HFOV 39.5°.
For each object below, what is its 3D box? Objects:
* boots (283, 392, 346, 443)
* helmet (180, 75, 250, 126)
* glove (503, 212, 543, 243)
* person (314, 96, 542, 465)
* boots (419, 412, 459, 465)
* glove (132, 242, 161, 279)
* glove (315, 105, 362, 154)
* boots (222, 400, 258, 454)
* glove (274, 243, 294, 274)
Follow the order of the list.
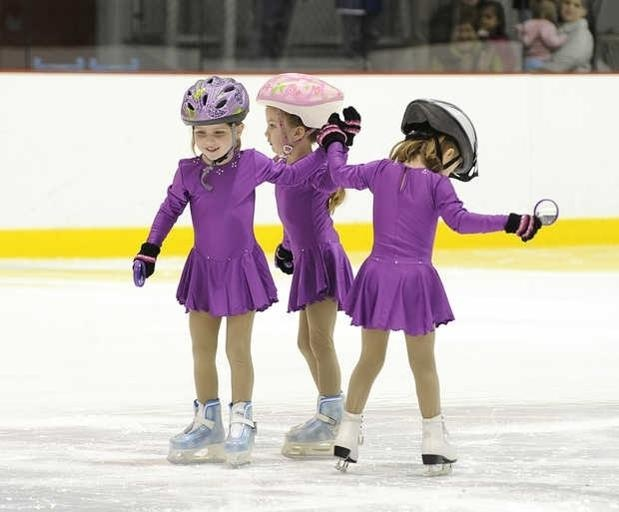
[{"bbox_3d":[0.019,0.769,4.072,0.337,0.235,0.117,9,2,-32],"label":"boots"},{"bbox_3d":[-0.430,-0.684,3.842,0.199,0.140,0.287,0,11,11],"label":"helmet"},{"bbox_3d":[0.879,-0.121,3.565,0.125,0.128,0.058,28,10,24],"label":"glove"},{"bbox_3d":[0.464,0.115,3.882,0.818,1.586,0.606,-1,11,-2],"label":"person"},{"bbox_3d":[0.567,0.802,3.802,0.179,0.244,0.166,-3,11,-15],"label":"boots"},{"bbox_3d":[-0.746,0.007,3.984,0.076,0.201,0.086,8,-1,-13],"label":"glove"},{"bbox_3d":[0.128,-0.579,4.011,0.096,0.238,0.151,-7,-43,48],"label":"glove"},{"bbox_3d":[-0.316,0.773,3.909,0.120,0.218,0.311,-2,11,6],"label":"boots"},{"bbox_3d":[-0.133,0.020,4.377,0.121,0.141,0.107,5,-8,19],"label":"glove"}]
